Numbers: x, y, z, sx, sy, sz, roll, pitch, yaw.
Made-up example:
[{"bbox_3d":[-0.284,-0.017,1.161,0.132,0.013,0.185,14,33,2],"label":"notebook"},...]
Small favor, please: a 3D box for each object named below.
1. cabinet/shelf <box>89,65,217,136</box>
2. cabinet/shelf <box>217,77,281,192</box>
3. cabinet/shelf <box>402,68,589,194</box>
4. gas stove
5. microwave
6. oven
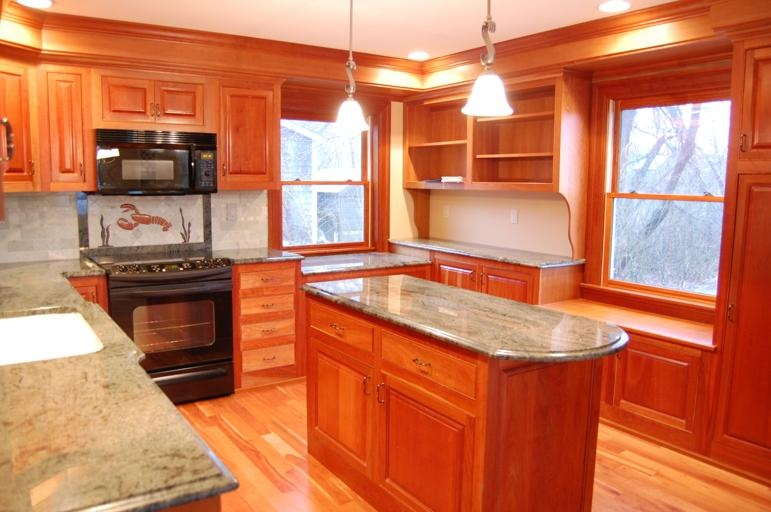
[{"bbox_3d":[-1.786,-1.248,4.652,1.356,0.516,0.414,10,16,22],"label":"cabinet/shelf"},{"bbox_3d":[-1.185,-1.037,4.808,0.570,0.892,0.167,-4,13,-17],"label":"cabinet/shelf"},{"bbox_3d":[0.958,-1.073,5.292,0.502,0.845,2.070,-8,11,-35],"label":"cabinet/shelf"},{"bbox_3d":[-1.875,0.036,4.570,1.014,0.128,0.721,-5,11,-27],"label":"gas stove"},{"bbox_3d":[-1.877,-0.754,4.476,0.936,0.456,0.587,-2,8,-33],"label":"microwave"},{"bbox_3d":[-1.790,0.619,4.665,1.004,1.043,0.821,-3,2,-23],"label":"oven"}]
